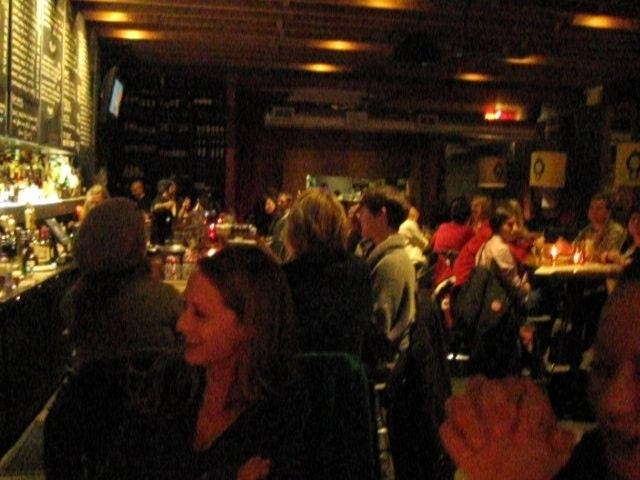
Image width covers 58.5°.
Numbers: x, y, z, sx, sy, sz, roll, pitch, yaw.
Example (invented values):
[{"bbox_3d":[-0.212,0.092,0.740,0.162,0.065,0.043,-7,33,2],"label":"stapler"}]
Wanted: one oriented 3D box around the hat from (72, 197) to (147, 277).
[{"bbox_3d":[-0.340,-0.007,0.968,0.079,0.114,0.134,5,21,5],"label":"hat"}]
